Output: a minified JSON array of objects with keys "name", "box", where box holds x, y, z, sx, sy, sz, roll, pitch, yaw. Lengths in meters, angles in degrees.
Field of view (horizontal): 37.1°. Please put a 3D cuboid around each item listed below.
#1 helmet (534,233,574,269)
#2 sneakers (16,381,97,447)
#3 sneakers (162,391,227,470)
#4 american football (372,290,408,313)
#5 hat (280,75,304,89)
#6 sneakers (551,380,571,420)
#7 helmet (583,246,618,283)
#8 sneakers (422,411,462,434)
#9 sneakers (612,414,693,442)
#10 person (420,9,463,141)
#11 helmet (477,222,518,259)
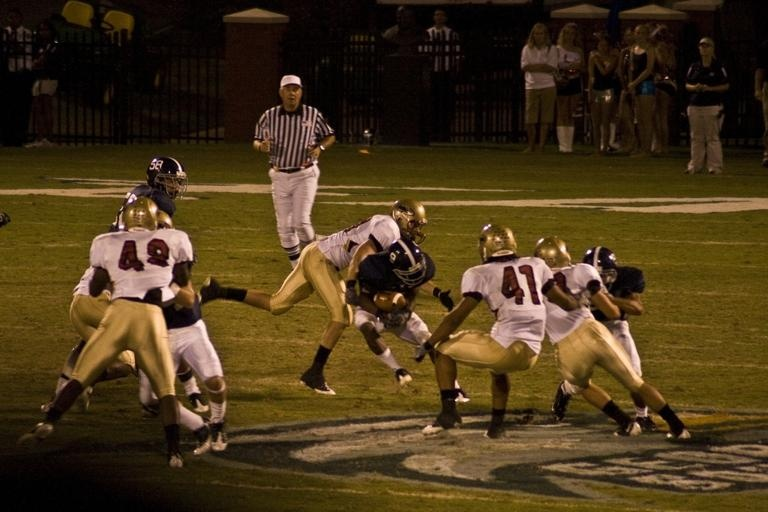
[{"name":"helmet","box":[1.316,-0.036,8.936,0.329,0.218,0.218,-4,15,0]},{"name":"sneakers","box":[-2.400,1.178,8.440,0.606,0.156,0.188,-39,14,4]},{"name":"sneakers","box":[-1.312,1.266,8.091,0.239,0.256,0.664,0,26,10]},{"name":"american football","box":[0.041,0.363,9.271,0.258,0.129,0.145,-6,3,40]},{"name":"hat","box":[-1.073,-2.040,13.411,0.204,0.134,0.209,0,4,-13]},{"name":"sneakers","box":[1.370,1.122,8.969,0.133,0.317,0.150,1,23,-18]},{"name":"helmet","box":[1.761,0.040,9.037,0.349,0.270,0.243,-6,19,-12]},{"name":"sneakers","box":[0.443,1.236,8.603,0.312,0.180,0.098,-1,4,-33]},{"name":"sneakers","box":[2.030,1.313,8.688,0.604,0.207,0.174,-2,-32,9]},{"name":"person","box":[1.439,-4.518,28.548,0.938,3.185,1.405,1,4,3]},{"name":"helmet","box":[0.858,-0.103,8.699,0.260,0.273,0.242,1,4,3]}]
